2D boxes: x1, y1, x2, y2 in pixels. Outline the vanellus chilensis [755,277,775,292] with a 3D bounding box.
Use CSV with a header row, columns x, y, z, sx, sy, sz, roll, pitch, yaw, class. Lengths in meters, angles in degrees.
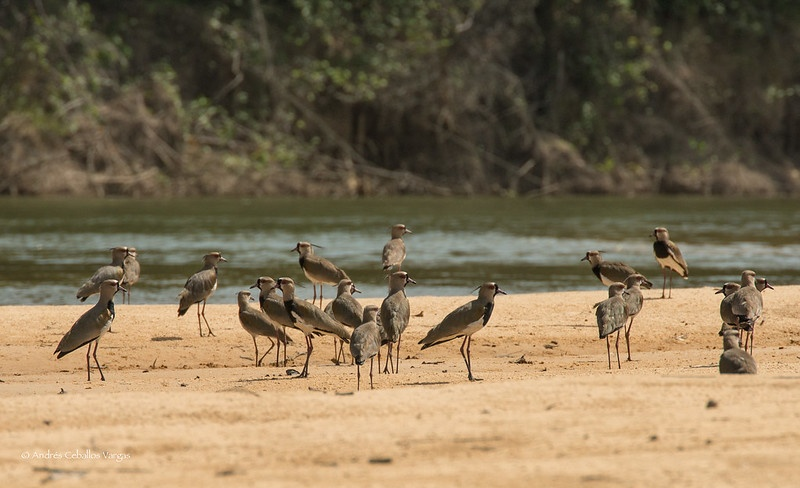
x,y,z,sx,sy,sz,roll,pitch,yaw,class
19.374,2.395,81.296,0.464,0.672,1.340,34,14,36,vanellus chilensis
